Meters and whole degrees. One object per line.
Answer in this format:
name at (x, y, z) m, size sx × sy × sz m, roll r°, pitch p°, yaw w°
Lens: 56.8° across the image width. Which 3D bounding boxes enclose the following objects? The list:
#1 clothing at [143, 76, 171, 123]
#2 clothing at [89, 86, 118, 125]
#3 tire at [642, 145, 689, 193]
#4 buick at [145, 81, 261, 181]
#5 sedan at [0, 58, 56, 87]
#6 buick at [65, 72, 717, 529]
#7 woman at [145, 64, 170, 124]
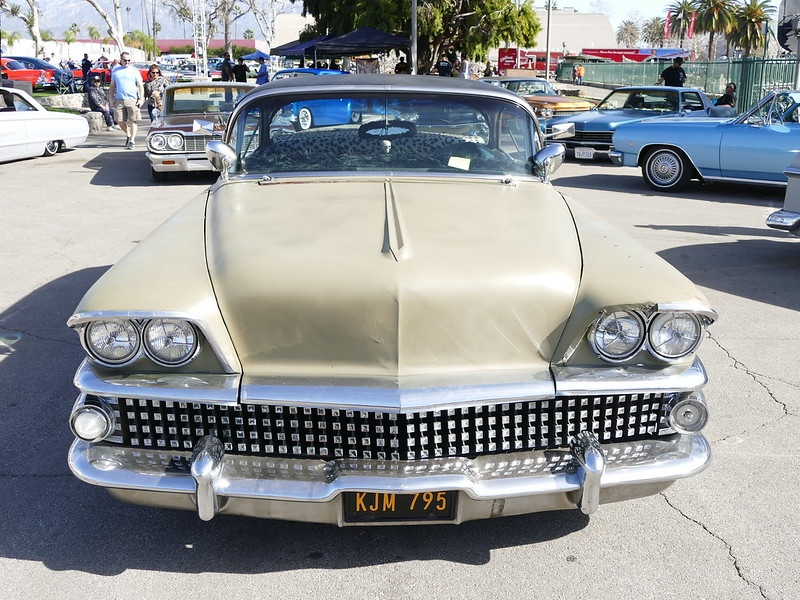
clothing at (-6.085, -4.740, 18.472) m, size 0.659 × 1.657 × 0.411 m, roll 4°, pitch 26°, yaw -4°
clothing at (-8.348, -5.495, 20.681) m, size 0.677 × 1.352 × 0.471 m, roll 4°, pitch 25°, yaw -15°
tire at (4.284, -2.135, 11.905) m, size 0.570 × 0.655 × 0.240 m, roll 9°, pitch 15°, yaw 41°
buick at (-3.457, -2.652, 13.212) m, size 1.969 × 1.639 × 3.686 m, roll -3°, pitch 22°, yaw -9°
sedan at (-16.557, -9.962, 32.554) m, size 1.265 × 1.075 × 3.143 m, roll 2°, pitch 13°, yaw 1°
buick at (-0.080, -0.187, 4.075) m, size 2.994 × 2.167 × 2.192 m, roll 0°, pitch 12°, yaw -6°
woman at (-6.073, -4.924, 18.388) m, size 0.550 × 1.673 × 0.492 m, roll -2°, pitch 35°, yaw -15°
